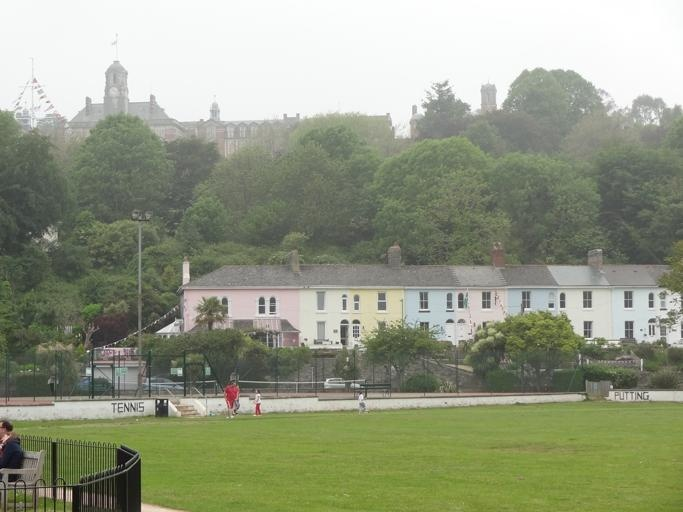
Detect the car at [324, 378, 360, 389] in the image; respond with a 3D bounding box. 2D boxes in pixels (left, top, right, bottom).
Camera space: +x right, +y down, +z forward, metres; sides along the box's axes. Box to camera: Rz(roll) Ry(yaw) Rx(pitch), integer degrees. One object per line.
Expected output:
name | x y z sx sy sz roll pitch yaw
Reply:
car | 0.092 11.740 156.008 2.693 0.821 1.284 -3 -2 -1
